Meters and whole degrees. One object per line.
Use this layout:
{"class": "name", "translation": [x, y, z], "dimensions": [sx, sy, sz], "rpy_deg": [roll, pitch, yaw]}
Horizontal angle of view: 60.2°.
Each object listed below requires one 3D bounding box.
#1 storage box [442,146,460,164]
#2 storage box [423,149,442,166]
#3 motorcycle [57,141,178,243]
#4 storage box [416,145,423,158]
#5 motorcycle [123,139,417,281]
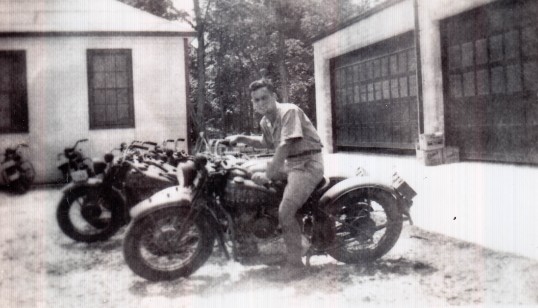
{"class": "storage box", "translation": [2.752, 0.018, 7.067], "dimensions": [0.275, 0.308, 0.216], "rpy_deg": [0, -6, -14]}
{"class": "storage box", "translation": [2.441, 0.036, 6.808], "dimensions": [0.521, 0.205, 0.201], "rpy_deg": [-8, 10, -41]}
{"class": "motorcycle", "translation": [-1.985, 0.462, 6.359], "dimensions": [1.706, 1.203, 1.056], "rpy_deg": [-2, 3, 0]}
{"class": "storage box", "translation": [2.207, -0.033, 6.790], "dimensions": [0.095, 0.171, 0.160], "rpy_deg": [1, 7, 11]}
{"class": "motorcycle", "translation": [-0.038, 0.512, 6.570], "dimensions": [3.420, 1.870, 1.611], "rpy_deg": [-3, 4, -1]}
